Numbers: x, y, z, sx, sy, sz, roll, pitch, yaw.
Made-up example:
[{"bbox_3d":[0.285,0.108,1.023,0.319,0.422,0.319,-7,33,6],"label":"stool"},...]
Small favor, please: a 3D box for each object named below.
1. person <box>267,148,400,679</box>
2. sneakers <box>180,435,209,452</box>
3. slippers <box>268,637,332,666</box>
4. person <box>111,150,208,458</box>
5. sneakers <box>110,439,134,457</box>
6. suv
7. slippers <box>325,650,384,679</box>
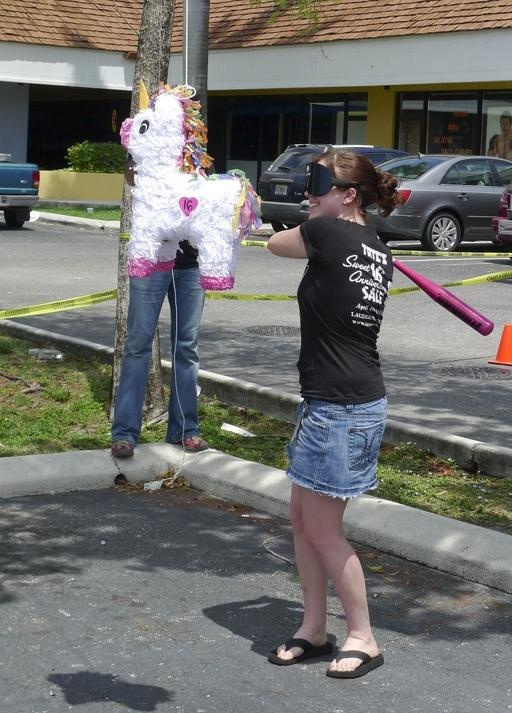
[{"bbox_3d":[0.219,0.160,2.210,0.381,1.576,0.323,4,6,20],"label":"person"},{"bbox_3d":[-0.367,0.535,4.605,0.081,0.057,0.153,-7,11,-35],"label":"sneakers"},{"bbox_3d":[0.137,0.891,2.296,0.196,0.050,0.076,1,0,-31],"label":"slippers"},{"bbox_3d":[-0.574,-0.052,4.513,0.597,1.284,0.391,0,6,-19],"label":"person"},{"bbox_3d":[-0.765,0.547,4.392,0.152,0.107,0.140,-1,6,-29],"label":"sneakers"},{"bbox_3d":[2.452,-4.421,20.224,5.997,2.245,3.080,-17,19,-41],"label":"suv"},{"bbox_3d":[0.302,0.902,2.221,0.069,0.048,0.182,-3,-4,41],"label":"slippers"}]
